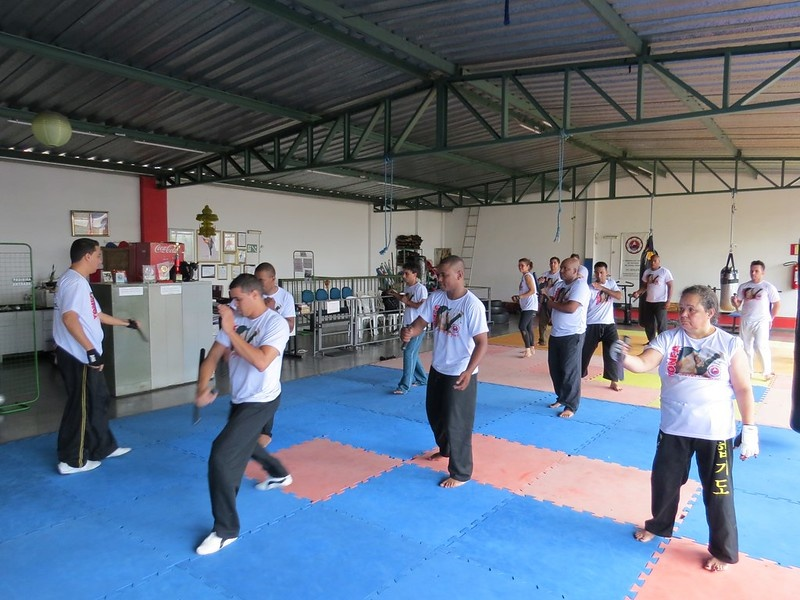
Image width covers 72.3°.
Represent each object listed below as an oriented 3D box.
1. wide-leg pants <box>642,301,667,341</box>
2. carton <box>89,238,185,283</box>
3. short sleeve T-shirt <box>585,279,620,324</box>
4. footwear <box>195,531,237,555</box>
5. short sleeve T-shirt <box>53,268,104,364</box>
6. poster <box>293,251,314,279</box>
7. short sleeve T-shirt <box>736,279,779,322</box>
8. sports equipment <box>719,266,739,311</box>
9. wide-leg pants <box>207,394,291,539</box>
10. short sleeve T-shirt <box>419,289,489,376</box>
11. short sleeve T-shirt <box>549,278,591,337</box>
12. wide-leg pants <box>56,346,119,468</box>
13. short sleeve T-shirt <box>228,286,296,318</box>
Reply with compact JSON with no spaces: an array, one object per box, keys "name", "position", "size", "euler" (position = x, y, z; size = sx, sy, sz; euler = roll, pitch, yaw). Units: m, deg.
[{"name":"wide-leg pants","position":[5.131,0.400,11.052],"size":[0.410,0.894,0.280],"euler":[-8,24,16]},{"name":"carton","position":[-4.355,-0.619,9.093],"size":[0.525,0.933,1.089],"euler":[1,4,30]},{"name":"short sleeve T-shirt","position":[3.066,0.038,8.351],"size":[0.568,0.624,0.305],"euler":[1,15,9]},{"name":"footwear","position":[-1.535,2.040,4.562],"size":[0.143,0.102,0.292],"euler":[13,13,35]},{"name":"short sleeve T-shirt","position":[-3.405,0.179,5.750],"size":[0.445,0.951,0.527],"euler":[-6,13,-27]},{"name":"poster","position":[-2.887,-1.014,16.236],"size":[0.081,1.087,1.055],"euler":[-2,-1,39]},{"name":"short sleeve T-shirt","position":[5.909,0.027,9.116],"size":[0.436,0.685,0.686],"euler":[-10,10,-26]},{"name":"sports equipment","position":[8.634,-0.364,14.404],"size":[0.381,1.330,0.352],"euler":[-1,5,5]},{"name":"wide-leg pants","position":[-1.342,1.449,4.632],"size":[0.254,1.153,0.524],"euler":[7,14,30]},{"name":"short sleeve T-shirt","position":[0.537,0.317,5.461],"size":[0.353,0.813,0.696],"euler":[-11,16,-42]},{"name":"short sleeve T-shirt","position":[2.355,0.123,7.560],"size":[0.530,0.813,0.879],"euler":[-2,-2,-14]},{"name":"wide-leg pants","position":[-3.381,1.148,5.815],"size":[0.576,1.265,0.376],"euler":[-5,13,-22]},{"name":"short sleeve T-shirt","position":[-1.601,0.023,6.730],"size":[0.563,0.563,0.333],"euler":[1,4,18]}]
